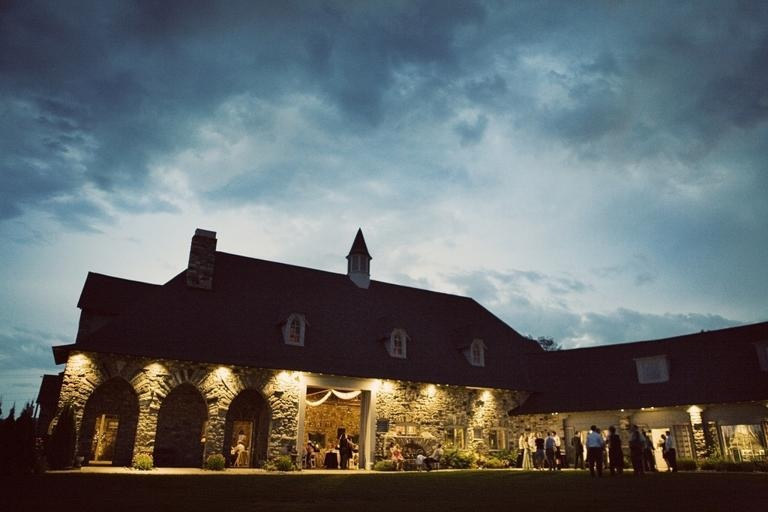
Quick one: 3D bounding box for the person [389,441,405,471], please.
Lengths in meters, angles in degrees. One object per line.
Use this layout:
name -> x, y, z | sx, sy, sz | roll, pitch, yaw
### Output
person -> 0.758, 11.789, 30.665 | 0.864, 1.578, 0.919 | 2, -22, -3

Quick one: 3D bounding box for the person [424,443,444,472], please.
person -> 2.905, 11.960, 30.860 | 1.137, 1.490, 2.068 | -2, -22, 6
